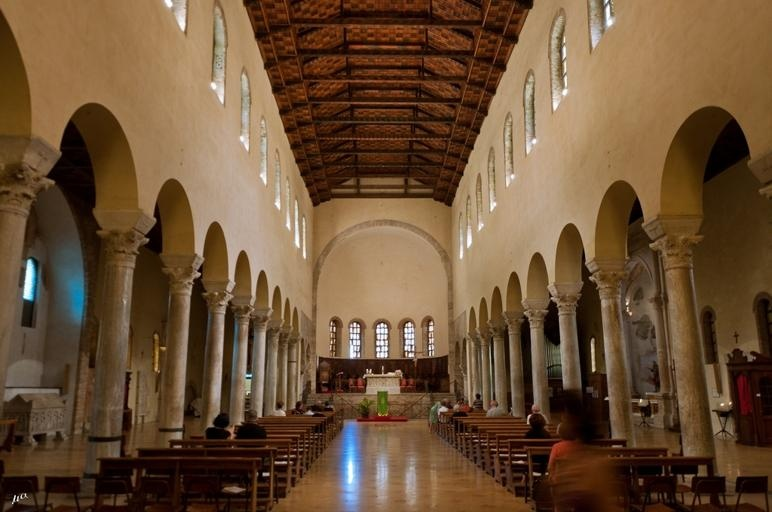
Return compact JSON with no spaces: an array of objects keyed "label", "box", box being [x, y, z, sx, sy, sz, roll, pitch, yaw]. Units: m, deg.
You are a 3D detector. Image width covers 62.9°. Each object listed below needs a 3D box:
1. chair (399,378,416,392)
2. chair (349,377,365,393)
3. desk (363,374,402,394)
[{"label":"chair","box":[1.342,8.376,40.346,1.273,0.775,1.364,3,10,-5]},{"label":"chair","box":[-1.890,8.330,40.511,0.815,0.828,0.758,2,-22,-7]},{"label":"desk","box":[-0.192,7.792,38.283,1.394,0.891,1.458,-1,-13,4]}]
